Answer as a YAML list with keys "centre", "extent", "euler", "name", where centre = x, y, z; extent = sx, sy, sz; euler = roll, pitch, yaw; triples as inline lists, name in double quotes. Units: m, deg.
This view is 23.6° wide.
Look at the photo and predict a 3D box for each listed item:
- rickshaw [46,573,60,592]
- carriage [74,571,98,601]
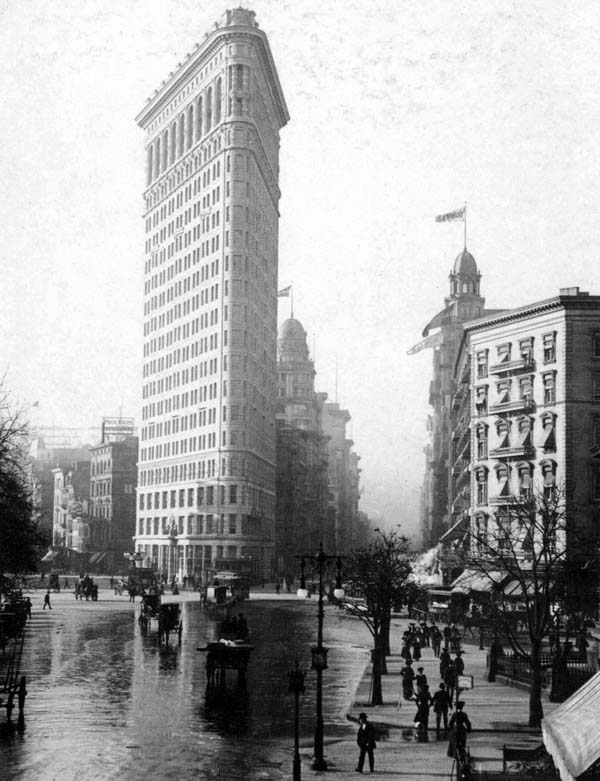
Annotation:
- centre: [-19.259, 14.872, 114.093]
  extent: [0.627, 1.441, 2.385]
  euler: [1, -4, -3]
  name: "rickshaw"
- centre: [-14.467, 13.288, 99.235]
  extent: [0.990, 1.955, 3.121]
  euler: [1, -12, -16]
  name: "carriage"
